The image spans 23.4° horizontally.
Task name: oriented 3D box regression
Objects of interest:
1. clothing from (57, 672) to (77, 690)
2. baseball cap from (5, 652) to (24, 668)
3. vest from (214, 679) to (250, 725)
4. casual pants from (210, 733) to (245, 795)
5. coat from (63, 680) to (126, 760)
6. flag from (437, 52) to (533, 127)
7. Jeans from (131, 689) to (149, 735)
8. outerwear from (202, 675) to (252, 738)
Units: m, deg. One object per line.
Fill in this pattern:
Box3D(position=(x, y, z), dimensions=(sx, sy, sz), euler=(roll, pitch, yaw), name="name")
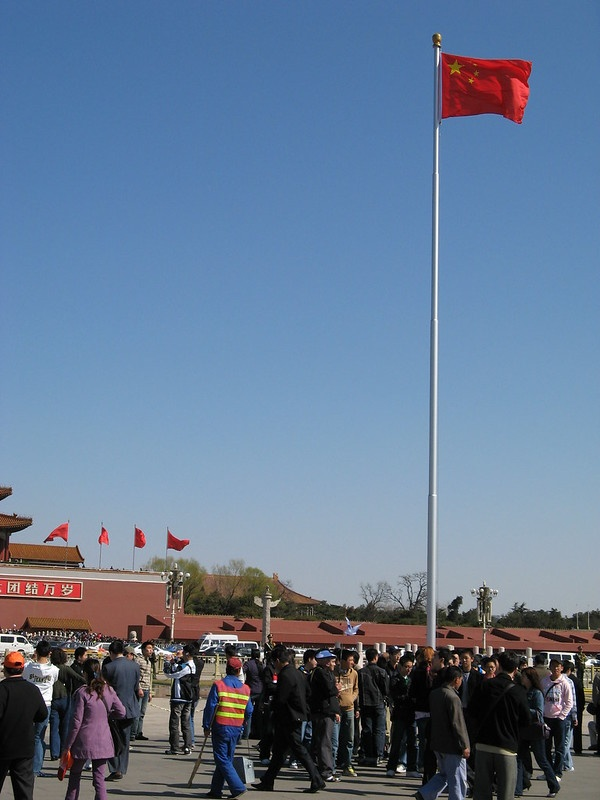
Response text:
Box3D(position=(-2.950, 3.566, 18.353), dimensions=(0.239, 0.234, 0.097), euler=(-4, 10, 41), name="clothing")
Box3D(position=(-2.907, 2.661, 14.694), dimensions=(0.198, 0.180, 0.443), euler=(4, -11, -13), name="baseball cap")
Box3D(position=(-0.793, 3.454, 16.351), dimensions=(0.406, 0.517, 0.256), euler=(4, -11, -15), name="vest")
Box3D(position=(-0.815, 4.102, 16.310), dimensions=(0.387, 0.762, 0.465), euler=(2, -11, -2), name="casual pants")
Box3D(position=(-2.136, 3.374, 15.120), dimensions=(0.565, 0.744, 0.279), euler=(6, -16, -25), name="coat")
Box3D(position=(2.988, -5.164, 23.969), dimensions=(0.576, 1.587, 1.693), euler=(9, -13, -35), name="flag")
Box3D(position=(-2.434, 4.706, 21.785), dimensions=(0.188, 0.806, 0.279), euler=(3, 5, -33), name="Jeans")
Box3D(position=(-0.824, 3.487, 16.414), dimensions=(0.545, 0.617, 0.295), euler=(9, -16, -24), name="outerwear")
